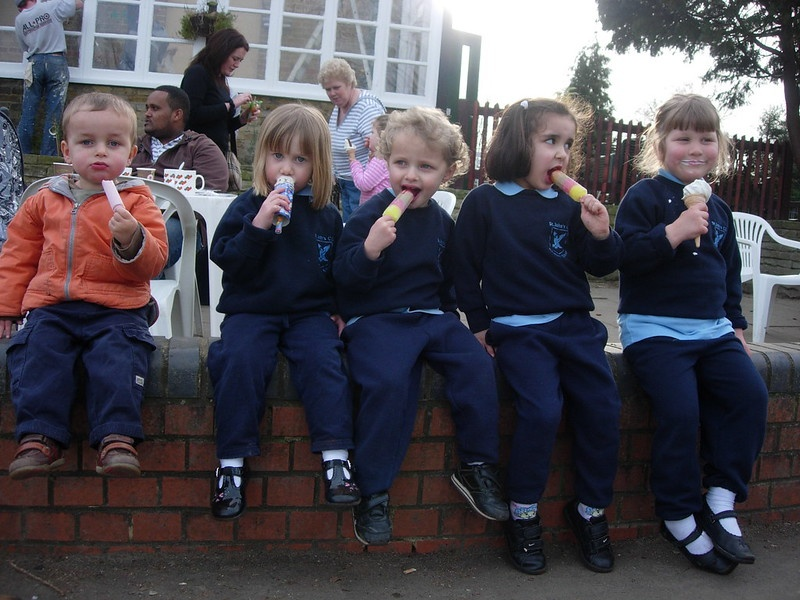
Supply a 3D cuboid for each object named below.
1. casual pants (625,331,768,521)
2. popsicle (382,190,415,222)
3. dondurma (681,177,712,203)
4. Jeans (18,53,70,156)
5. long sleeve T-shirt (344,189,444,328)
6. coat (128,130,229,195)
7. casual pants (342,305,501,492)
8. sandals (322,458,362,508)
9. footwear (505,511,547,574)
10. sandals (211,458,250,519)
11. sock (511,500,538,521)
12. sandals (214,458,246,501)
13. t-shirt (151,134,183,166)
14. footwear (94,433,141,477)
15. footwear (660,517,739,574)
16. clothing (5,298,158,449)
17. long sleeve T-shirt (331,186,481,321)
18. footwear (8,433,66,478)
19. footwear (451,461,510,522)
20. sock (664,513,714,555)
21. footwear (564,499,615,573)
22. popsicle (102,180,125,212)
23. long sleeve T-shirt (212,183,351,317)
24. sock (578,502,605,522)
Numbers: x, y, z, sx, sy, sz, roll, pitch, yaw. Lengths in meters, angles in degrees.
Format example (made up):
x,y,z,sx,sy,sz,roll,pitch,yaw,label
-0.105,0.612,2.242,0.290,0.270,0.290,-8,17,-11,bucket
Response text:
x,y,z,sx,sy,sz,roll,pitch,yaw,label
1.254,0.561,3.519,0.527,0.789,0.297,0,8,-9,casual pants
0.028,-0.404,3.422,0.051,0.044,0.173,-21,23,45,popsicle
1.310,-0.502,3.647,0.116,0.124,0.124,-1,-12,10,dondurma
-3.788,-2.321,9.160,0.506,1.142,0.336,6,19,-11,Jeans
0.005,-0.164,3.436,0.632,0.586,0.397,-1,0,-26,long sleeve T-shirt
-1.367,-0.999,5.584,0.416,0.284,0.241,-6,-20,40,coat
0.102,0.449,3.292,0.758,0.690,0.422,0,-10,-29,casual pants
-0.198,0.763,3.191,0.128,0.236,0.158,-1,9,-15,sandals
0.532,1.035,3.368,0.111,0.119,0.279,-1,22,-11,footwear
-0.618,0.766,3.174,0.104,0.091,0.235,-1,27,-4,sandals
0.525,0.904,3.346,0.085,0.054,0.085,2,-2,3,sock
-0.613,0.757,3.174,0.084,0.081,0.212,-1,50,-3,sandals
-1.501,-1.063,5.540,0.161,0.220,0.116,9,0,-8,t-shirt
-1.001,0.623,3.065,0.146,0.189,0.141,-1,9,-19,footwear
1.244,1.114,3.443,0.136,0.132,0.320,-37,55,-6,footwear
-1.173,0.291,3.175,0.532,0.526,0.383,-1,9,-17,clothing
0.088,-0.192,3.693,0.805,0.754,0.506,0,-1,-25,long sleeve T-shirt
-1.291,0.619,3.074,0.100,0.113,0.238,-3,-12,-1,footwear
0.342,0.789,3.293,0.176,0.214,0.227,0,9,-13,footwear
1.216,1.028,3.485,0.102,0.234,0.090,-41,-14,22,sock
0.805,1.051,3.418,0.123,0.328,0.145,-7,-29,-27,footwear
-1.103,-0.435,3.310,0.051,0.046,0.191,-22,59,-19,popsicle
-0.429,-0.126,3.583,0.742,0.713,0.493,1,-8,-12,long sleeve T-shirt
0.807,0.917,3.421,0.048,0.054,0.130,34,19,22,sock
